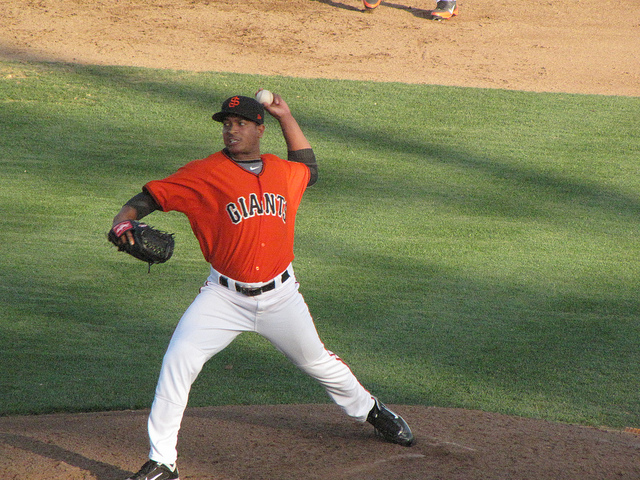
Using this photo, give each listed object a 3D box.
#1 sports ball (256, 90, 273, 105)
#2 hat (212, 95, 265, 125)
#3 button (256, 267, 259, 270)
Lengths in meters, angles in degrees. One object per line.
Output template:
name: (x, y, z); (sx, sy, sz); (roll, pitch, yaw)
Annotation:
sports ball: (-0.835, -2.177, 17.164); (0.253, 0.219, 0.200); (-19, 105, 4)
hat: (-1.204, -1.955, 16.875); (0.759, 0.279, 0.437); (7, 80, -2)
button: (-0.934, 0.431, 16.667); (0.073, 0.015, 0.049); (-1, 86, 1)
